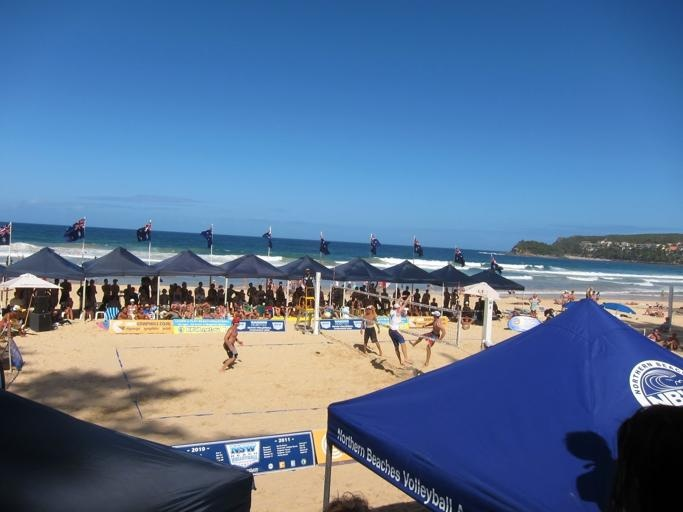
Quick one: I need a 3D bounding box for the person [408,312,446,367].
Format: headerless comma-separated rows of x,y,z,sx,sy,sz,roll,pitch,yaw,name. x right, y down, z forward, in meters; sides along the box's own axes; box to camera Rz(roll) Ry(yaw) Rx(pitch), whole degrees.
2.091,1.904,14.648,0.830,1.320,0.492,21,25,30,person

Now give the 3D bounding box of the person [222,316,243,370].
-2.589,1.992,14.296,0.412,1.175,2.549,-2,-6,-10,person
